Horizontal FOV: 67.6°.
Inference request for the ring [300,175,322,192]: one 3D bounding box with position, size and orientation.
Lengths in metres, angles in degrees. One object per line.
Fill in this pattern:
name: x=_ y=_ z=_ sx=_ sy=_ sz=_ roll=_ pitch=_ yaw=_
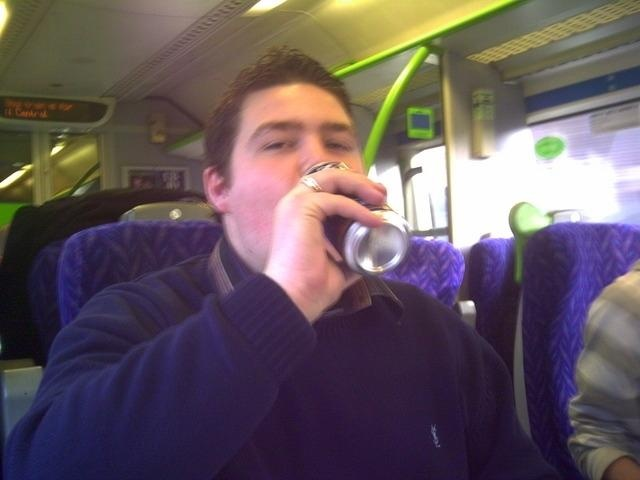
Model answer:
ring: x=-0.018 y=-0.114 z=0.970 sx=0.039 sy=0.014 sz=0.030 roll=44 pitch=19 yaw=7
